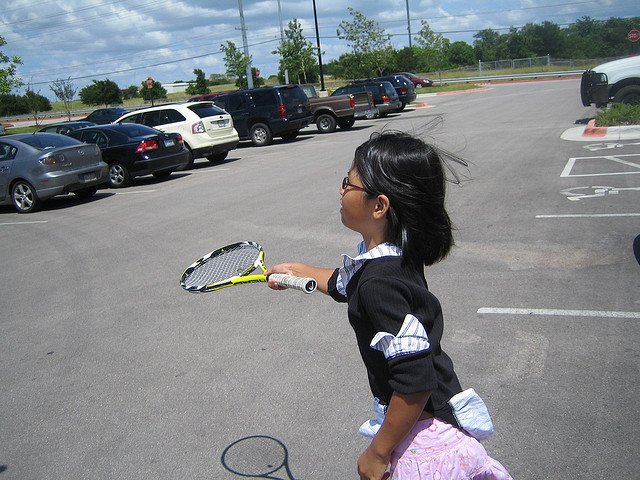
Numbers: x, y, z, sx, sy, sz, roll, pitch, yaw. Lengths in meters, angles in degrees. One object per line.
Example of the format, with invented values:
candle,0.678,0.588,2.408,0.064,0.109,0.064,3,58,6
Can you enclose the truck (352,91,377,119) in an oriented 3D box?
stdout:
truck,2.528,-7.872,25.689,1.470,1.378,0.550,-23,24,-28

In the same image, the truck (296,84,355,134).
truck,0.187,-7.248,24.691,3.995,2.098,2.137,8,22,22

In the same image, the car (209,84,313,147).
car,-2.348,-6.009,21.164,4.443,1.944,2.545,10,23,25

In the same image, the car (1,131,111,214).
car,-7.178,-1.883,11.979,2.951,1.299,1.661,11,17,25

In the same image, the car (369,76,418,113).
car,5.462,-9.901,29.934,1.331,2.404,2.362,0,24,28

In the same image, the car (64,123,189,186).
car,-6.327,-2.853,14.547,3.820,1.389,1.770,9,16,23

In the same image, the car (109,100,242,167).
car,-5.729,-4.274,17.467,4.931,1.979,2.323,9,16,20

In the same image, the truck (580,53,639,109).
truck,9.916,-5.391,15.192,2.468,1.475,1.400,4,16,25
